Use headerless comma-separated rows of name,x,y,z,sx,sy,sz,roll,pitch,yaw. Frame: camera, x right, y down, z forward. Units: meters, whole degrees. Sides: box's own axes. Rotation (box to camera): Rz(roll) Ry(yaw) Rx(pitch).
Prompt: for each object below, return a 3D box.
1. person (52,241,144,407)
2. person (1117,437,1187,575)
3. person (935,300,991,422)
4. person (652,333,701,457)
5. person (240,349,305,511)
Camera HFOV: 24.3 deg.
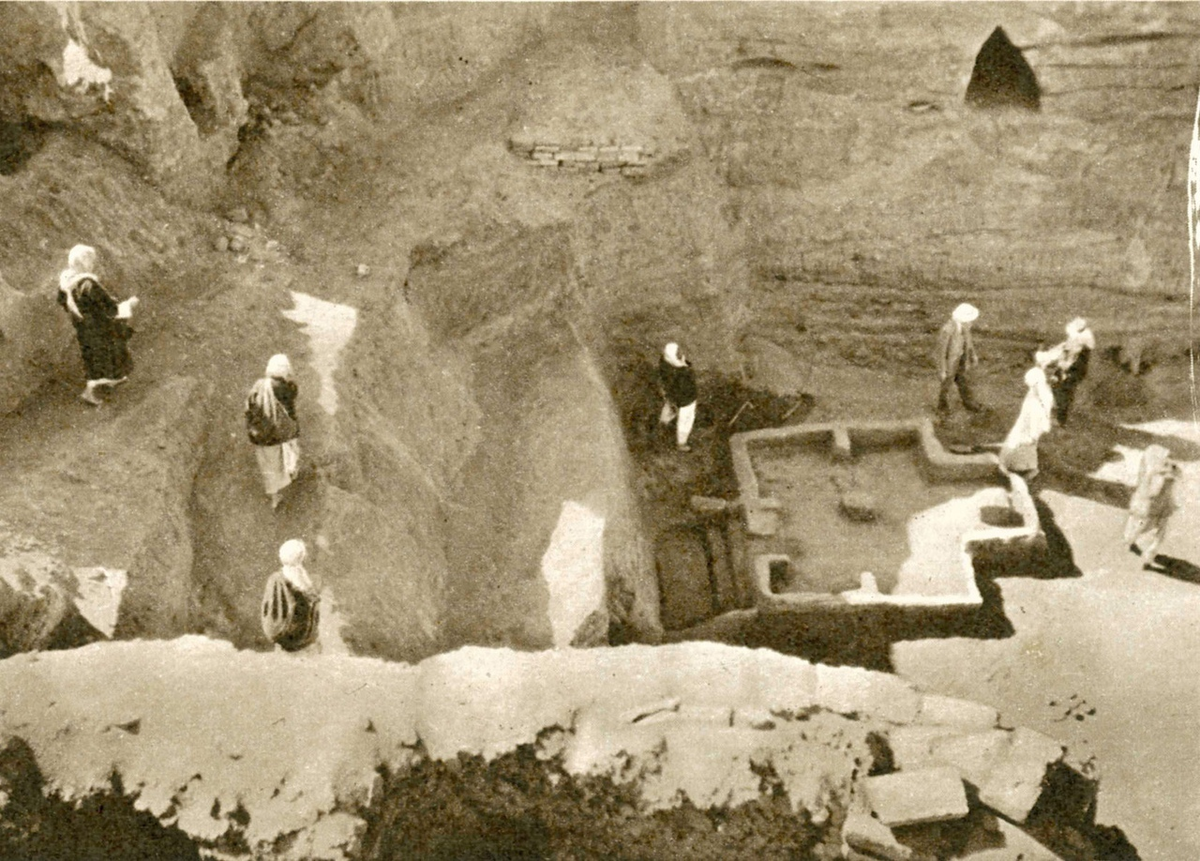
person,-6.709,-1.499,37.134,0.906,1.973,0.953,7,21,38
person,7.501,1.016,38.147,0.664,1.637,0.796,3,30,11
person,5.057,-1.004,39.995,0.565,1.549,0.466,-9,23,-18
person,1.111,-0.572,39.597,0.529,1.502,0.567,-12,36,-22
person,-4.331,-0.032,36.559,0.753,2.002,0.700,-9,24,-29
